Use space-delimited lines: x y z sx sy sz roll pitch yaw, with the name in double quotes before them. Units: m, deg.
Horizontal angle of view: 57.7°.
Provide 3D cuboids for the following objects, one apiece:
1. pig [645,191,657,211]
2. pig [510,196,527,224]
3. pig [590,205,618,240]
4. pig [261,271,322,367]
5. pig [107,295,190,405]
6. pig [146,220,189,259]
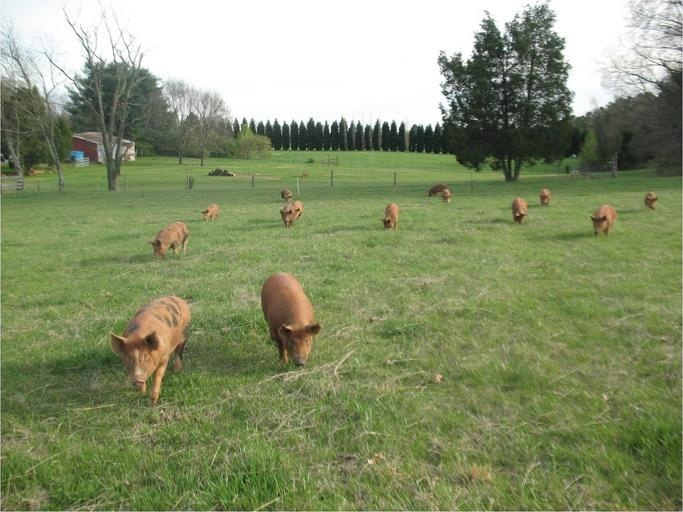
"pig" 12.347 -2.189 24.870 0.404 0.646 0.838 6 14 32
"pig" 6.776 -1.717 23.732 0.501 0.789 1.318 2 13 14
"pig" 8.624 -1.158 20.524 0.517 0.825 1.340 8 15 37
"pig" -0.997 1.252 11.813 0.846 1.365 1.877 -4 12 -15
"pig" -3.344 1.691 11.095 0.679 1.461 1.575 2 12 15
"pig" -5.199 -0.413 19.006 0.493 1.130 1.998 1 15 13
